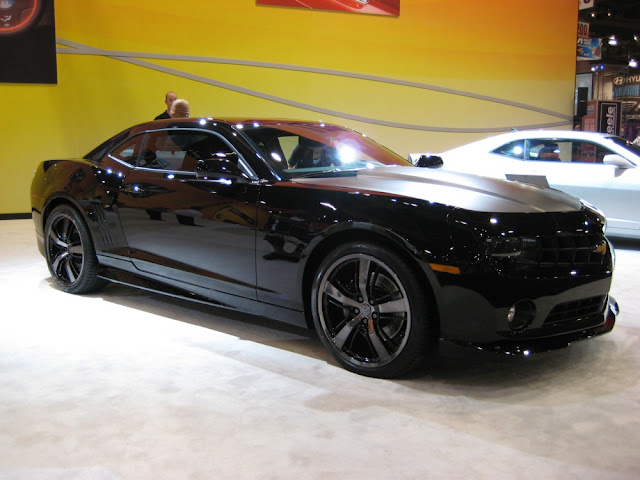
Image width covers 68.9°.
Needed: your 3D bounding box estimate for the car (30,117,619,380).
[{"bbox_3d":[-0.595,-0.139,4.006,5.107,0.992,1.962,3,7,30],"label":"car"}]
